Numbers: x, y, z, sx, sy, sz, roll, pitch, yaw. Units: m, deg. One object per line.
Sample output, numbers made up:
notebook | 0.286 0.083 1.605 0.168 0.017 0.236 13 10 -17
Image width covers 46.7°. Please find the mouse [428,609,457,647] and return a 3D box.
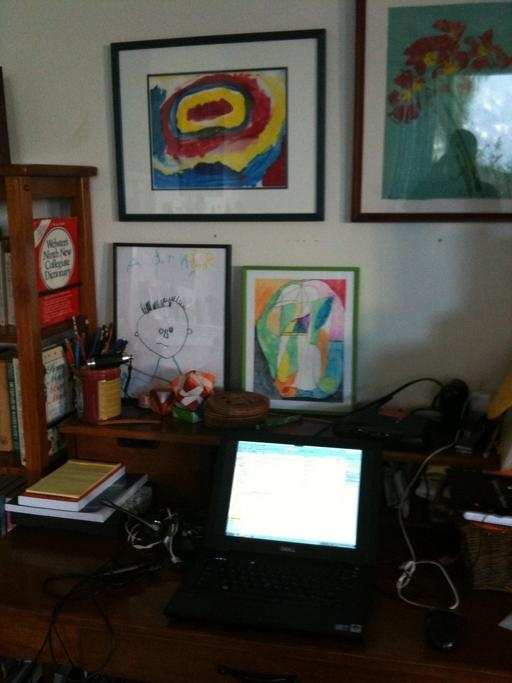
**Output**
mouse | 0.304 0.457 0.949 0.029 0.011 0.046 4 15 13

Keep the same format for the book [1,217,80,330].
book | -0.517 -0.161 1.409 0.094 0.246 0.253 5 13 9

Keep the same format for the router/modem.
router/modem | 0.285 0.182 1.260 0.106 0.030 0.105 1 10 28

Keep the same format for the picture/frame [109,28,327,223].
picture/frame | -0.072 -0.536 1.425 0.507 0.389 0.018 3 17 14

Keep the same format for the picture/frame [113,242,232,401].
picture/frame | -0.203 -0.061 1.520 0.420 0.523 0.025 3 7 12

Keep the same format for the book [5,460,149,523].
book | -0.400 0.336 1.358 0.266 0.065 0.205 3 12 12

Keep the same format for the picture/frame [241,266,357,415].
picture/frame | 0.118 -0.009 1.461 0.385 0.444 0.017 1 6 11

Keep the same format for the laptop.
laptop | 0.047 0.336 1.087 0.336 0.220 0.316 3 12 12
